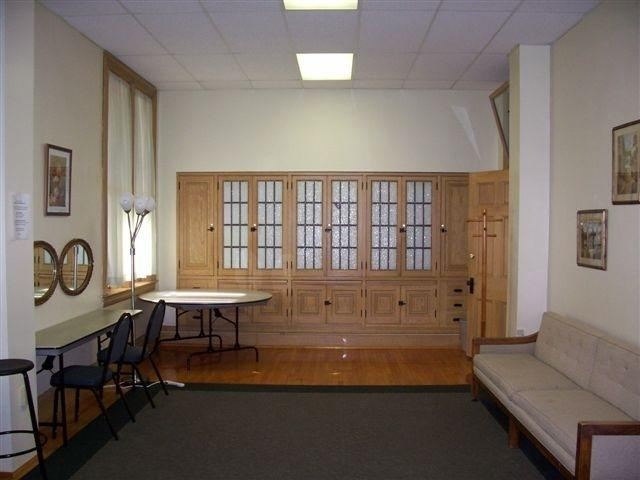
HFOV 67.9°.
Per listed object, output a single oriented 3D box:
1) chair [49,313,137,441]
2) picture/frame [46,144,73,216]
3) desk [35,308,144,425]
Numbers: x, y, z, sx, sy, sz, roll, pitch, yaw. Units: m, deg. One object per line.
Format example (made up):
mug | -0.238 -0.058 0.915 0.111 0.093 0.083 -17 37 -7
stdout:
chair | -2.228 1.298 4.672 0.636 1.136 0.562 2 -1 -7
picture/frame | -2.840 -0.642 5.166 0.071 0.536 0.355 -1 1 11
desk | -2.407 1.324 4.893 0.348 0.494 1.051 1 3 2
